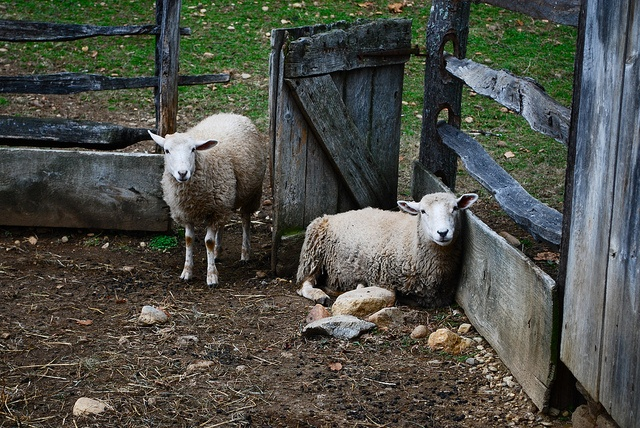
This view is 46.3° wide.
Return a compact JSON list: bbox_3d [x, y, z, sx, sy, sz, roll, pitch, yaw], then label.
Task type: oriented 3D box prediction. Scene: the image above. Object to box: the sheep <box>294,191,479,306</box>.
[{"bbox_3d":[0.844,0.419,8.609,1.437,1.409,2.463,-7,12,-39],"label":"sheep"}]
